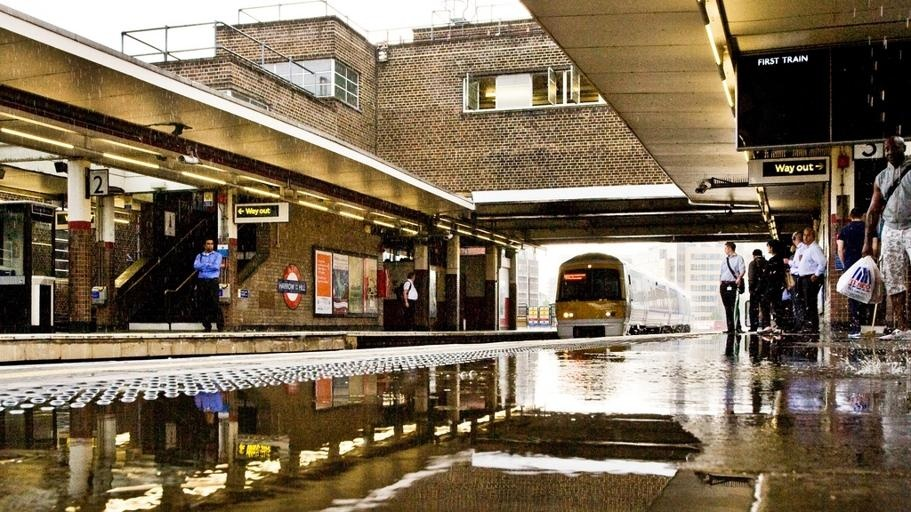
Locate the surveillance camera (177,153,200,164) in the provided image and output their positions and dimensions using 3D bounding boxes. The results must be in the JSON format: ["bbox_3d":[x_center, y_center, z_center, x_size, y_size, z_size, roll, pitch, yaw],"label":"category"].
[{"bbox_3d":[-7.648,-2.758,30.962,0.191,0.224,0.653,29,2,12],"label":"surveillance camera"}]

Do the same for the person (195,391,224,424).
[{"bbox_3d":[-3.981,2.455,17.619,0.494,0.487,1.497,0,-7,-13],"label":"person"}]
